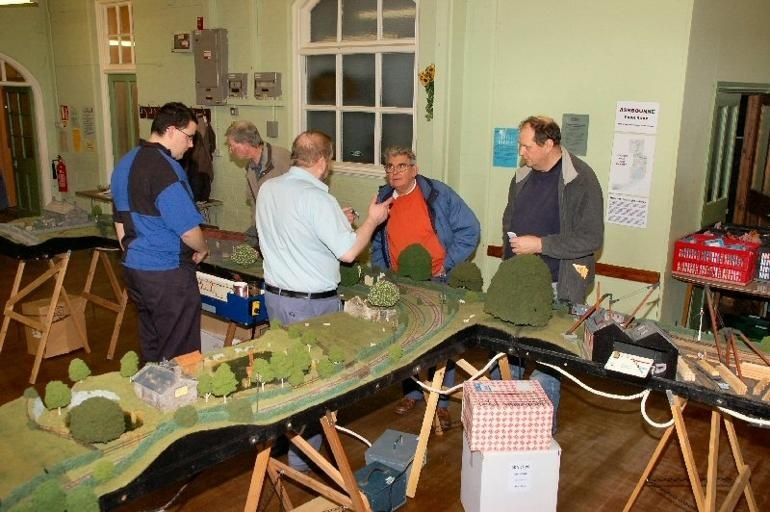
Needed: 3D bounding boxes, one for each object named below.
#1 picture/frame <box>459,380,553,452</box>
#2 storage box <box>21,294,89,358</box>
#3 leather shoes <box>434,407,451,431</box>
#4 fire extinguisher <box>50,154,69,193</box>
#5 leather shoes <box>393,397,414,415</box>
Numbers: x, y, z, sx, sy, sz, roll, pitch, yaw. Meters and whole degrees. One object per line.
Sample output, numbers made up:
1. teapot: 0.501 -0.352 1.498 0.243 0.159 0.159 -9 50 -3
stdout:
1. picture/frame: 0.858 1.049 3.911 0.650 0.365 0.470 -2 15 -9
2. storage box: -4.028 0.890 6.546 0.489 0.671 0.675 7 14 28
3. leather shoes: 0.587 1.639 5.337 0.097 0.172 0.275 -5 7 -31
4. fire extinguisher: -7.311 -1.849 12.073 0.453 0.840 0.167 10 17 37
5. leather shoes: 0.211 1.589 5.617 0.099 0.116 0.275 5 4 35
